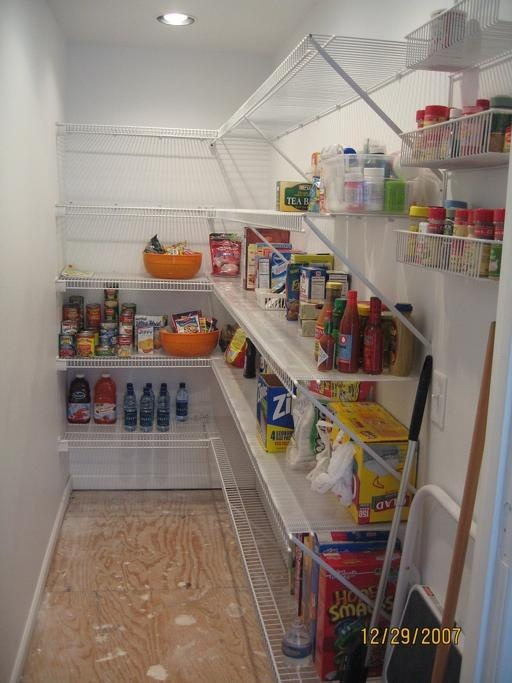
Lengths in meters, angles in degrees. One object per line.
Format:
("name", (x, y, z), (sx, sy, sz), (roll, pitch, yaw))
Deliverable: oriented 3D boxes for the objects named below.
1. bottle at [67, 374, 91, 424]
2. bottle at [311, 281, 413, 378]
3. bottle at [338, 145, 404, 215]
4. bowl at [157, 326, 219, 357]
("bottle", (-1.168, 0.386, 3.204), (0.157, 0.326, 0.141), (-1, 8, -22))
("bottle", (0.254, -0.029, 1.158), (0.239, 0.210, 0.170), (5, 8, 19))
("bottle", (0.260, -0.359, 1.085), (0.159, 0.167, 0.107), (0, 10, -7))
("bowl", (-0.441, 0.016, 3.011), (0.220, 0.105, 0.214), (0, 4, 0))
